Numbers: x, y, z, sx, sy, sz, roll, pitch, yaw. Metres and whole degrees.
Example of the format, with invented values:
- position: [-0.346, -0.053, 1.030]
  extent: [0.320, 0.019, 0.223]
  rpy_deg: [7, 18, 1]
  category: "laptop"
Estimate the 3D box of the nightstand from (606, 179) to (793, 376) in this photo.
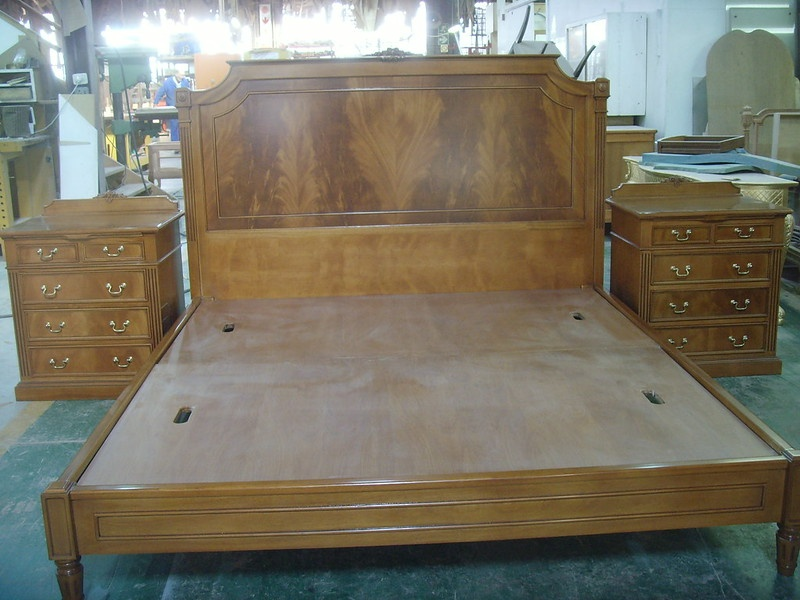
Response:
- position: [1.670, -0.116, 3.595]
  extent: [0.866, 0.990, 0.573]
  rpy_deg: [-4, 16, -1]
  category: "nightstand"
